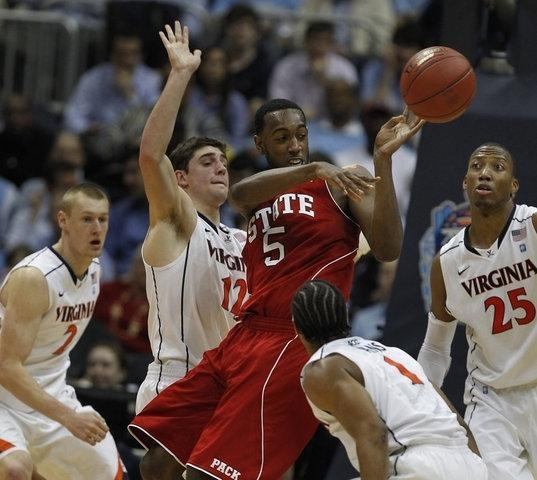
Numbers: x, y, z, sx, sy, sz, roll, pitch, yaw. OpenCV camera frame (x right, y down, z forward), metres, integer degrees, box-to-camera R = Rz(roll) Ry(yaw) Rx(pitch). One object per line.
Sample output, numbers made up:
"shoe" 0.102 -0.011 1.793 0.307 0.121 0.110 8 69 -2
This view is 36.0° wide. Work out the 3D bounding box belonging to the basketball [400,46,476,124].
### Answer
"basketball" 1.017 -1.005 5.047 0.414 0.488 0.436 26 29 28
